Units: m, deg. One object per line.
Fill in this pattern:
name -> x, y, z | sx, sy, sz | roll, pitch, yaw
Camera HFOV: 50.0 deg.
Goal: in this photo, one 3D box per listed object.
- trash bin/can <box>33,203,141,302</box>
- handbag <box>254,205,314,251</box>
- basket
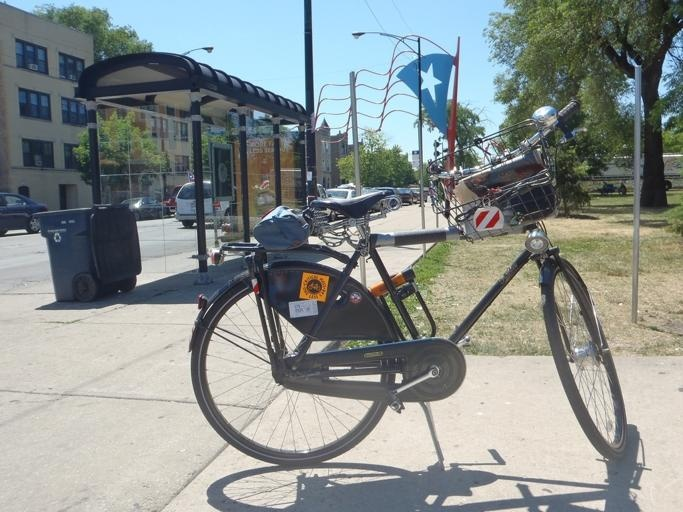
trash bin/can -> -3.463, -0.066, 10.257 | 0.945, 1.301, 1.196 | 0, 6, 18
handbag -> -0.402, -0.177, 4.974 | 0.325, 0.249, 0.150 | 0, -11, 11
basket -> 1.090, -0.465, 5.153 | 0.513, 0.631, 0.911 | -9, -13, 25
